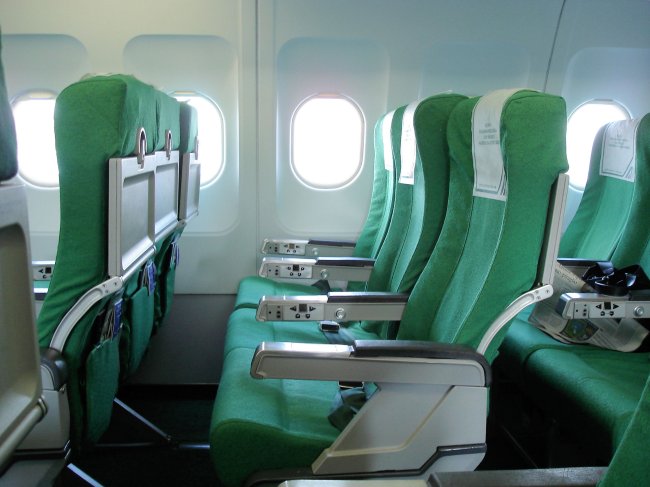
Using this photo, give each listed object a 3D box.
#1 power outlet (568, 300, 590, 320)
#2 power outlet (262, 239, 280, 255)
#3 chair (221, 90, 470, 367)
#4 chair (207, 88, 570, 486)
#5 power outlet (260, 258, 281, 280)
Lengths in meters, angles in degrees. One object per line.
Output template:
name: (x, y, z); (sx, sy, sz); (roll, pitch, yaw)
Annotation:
power outlet: (0.908, 0.236, 1.883); (0.093, 0.061, 0.011); (-1, 16, -14)
power outlet: (-0.286, 0.021, 2.801); (0.108, 0.089, 0.066); (1, 0, -7)
chair: (-0.070, -0.131, 2.565); (1.070, 1.487, 0.816); (4, 8, -3)
chair: (0.154, 0.101, 2.022); (0.977, 1.285, 1.335); (0, 2, 2)
power outlet: (-0.257, 0.120, 2.511); (0.134, 0.104, 0.079); (2, 16, 0)
